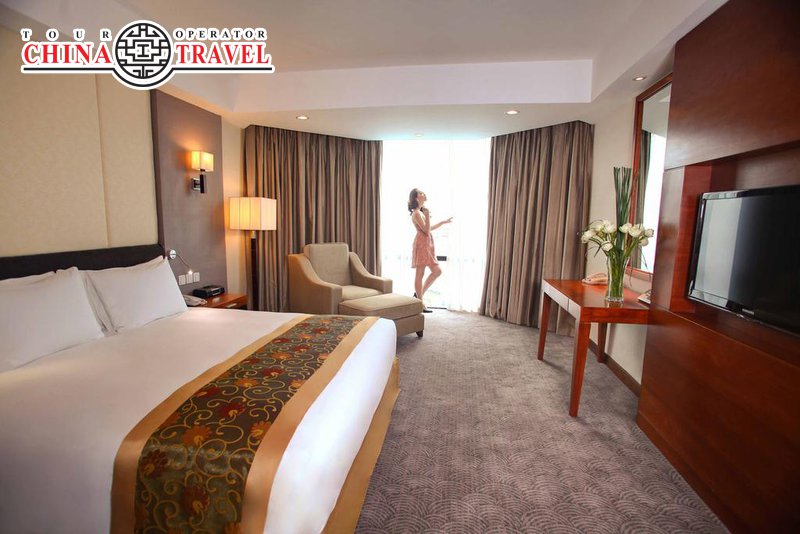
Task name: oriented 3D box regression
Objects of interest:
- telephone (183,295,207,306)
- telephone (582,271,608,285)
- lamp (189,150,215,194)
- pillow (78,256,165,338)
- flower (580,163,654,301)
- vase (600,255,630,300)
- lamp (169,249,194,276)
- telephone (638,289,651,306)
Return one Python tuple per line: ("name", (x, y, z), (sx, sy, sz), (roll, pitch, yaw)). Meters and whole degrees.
("telephone", (-2.061, 0.326, 5.059), (0.159, 0.062, 0.127), (2, 4, 3))
("telephone", (1.933, 0.101, 5.052), (0.139, 0.069, 0.253), (-12, 4, -27))
("lamp", (-2.156, -1.022, 5.539), (0.193, 0.438, 0.270), (5, 9, 20))
("pillow", (-2.319, 0.246, 4.114), (0.136, 0.522, 0.525), (-18, 0, 22))
("flower", (2.021, -0.347, 4.703), (0.580, 1.186, 1.016), (6, 10, 24))
("vase", (1.867, 0.101, 4.378), (0.152, 0.380, 0.176), (4, 9, 15))
("lamp", (-2.320, -0.049, 5.321), (0.079, 0.117, 0.329), (34, -9, 3))
("telephone", (2.090, 0.257, 4.337), (0.119, 0.031, 0.128), (7, 25, 45))
